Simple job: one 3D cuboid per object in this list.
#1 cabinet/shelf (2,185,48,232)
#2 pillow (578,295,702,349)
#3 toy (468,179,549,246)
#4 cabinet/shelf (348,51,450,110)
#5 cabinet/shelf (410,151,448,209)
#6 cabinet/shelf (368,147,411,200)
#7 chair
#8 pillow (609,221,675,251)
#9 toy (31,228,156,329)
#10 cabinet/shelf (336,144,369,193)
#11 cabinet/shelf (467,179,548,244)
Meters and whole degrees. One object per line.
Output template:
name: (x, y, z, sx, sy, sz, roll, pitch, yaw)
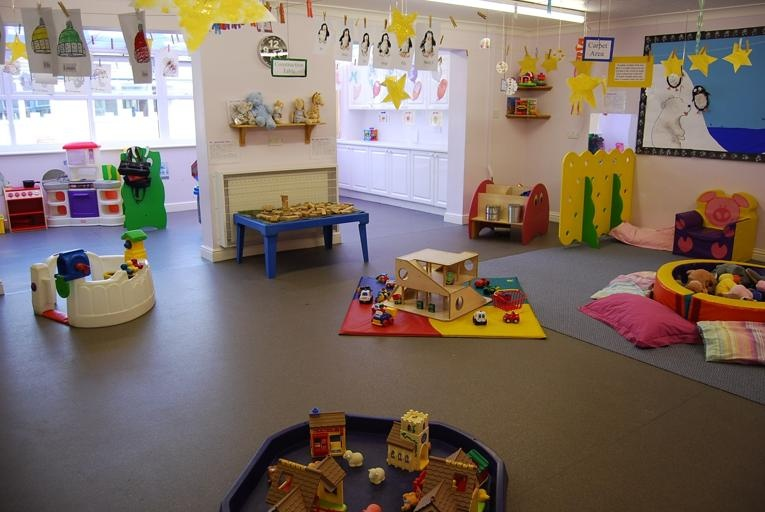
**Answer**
cabinet/shelf: (-6.130, -0.811, 8.564, 0.680, 0.957, 0.492, -8, 12, -40)
pillow: (2.628, 0.582, 5.088, 0.752, 0.230, 1.023, -13, 19, -20)
toy: (2.070, -0.756, 8.130, 1.112, 0.981, 1.136, 10, 21, 29)
cabinet/shelf: (0.193, -3.648, 10.550, 0.702, 1.117, 3.299, -12, 18, -30)
cabinet/shelf: (1.161, -1.527, 9.775, 1.125, 1.036, 0.635, 15, 26, 38)
cabinet/shelf: (0.181, -1.739, 10.333, 0.551, 0.862, 0.901, -15, 22, -41)
chair: (4.574, -0.386, 7.266, 0.933, 1.303, 1.162, -4, 8, -42)
pillow: (3.966, -0.285, 7.590, 0.486, 0.179, 0.548, -7, 12, -28)
toy: (-3.156, 0.134, 5.400, 1.212, 0.776, 0.947, 10, 15, 37)
cabinet/shelf: (-0.524, -2.032, 11.399, 1.063, 1.023, 0.601, 15, 24, 36)
cabinet/shelf: (2.114, -0.783, 8.237, 1.044, 0.881, 1.145, -12, 17, -36)
